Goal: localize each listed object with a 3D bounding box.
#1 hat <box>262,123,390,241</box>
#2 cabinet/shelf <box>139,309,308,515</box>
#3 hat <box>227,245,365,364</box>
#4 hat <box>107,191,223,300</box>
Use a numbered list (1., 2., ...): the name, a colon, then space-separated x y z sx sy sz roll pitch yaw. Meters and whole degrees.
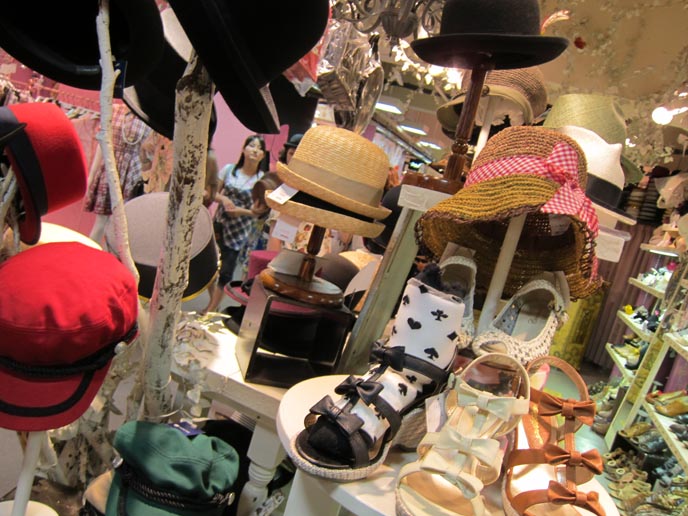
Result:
1. hat: -0.033 -0.235 1.443 0.284 0.217 0.387 19 16 -6
2. cabinet/shelf: -0.355 0.455 1.386 0.427 0.297 0.615 20 5 -35
3. hat: -0.085 0.136 1.678 0.366 0.139 0.414 21 7 6
4. hat: -0.651 -0.026 1.783 0.417 0.192 0.416 -5 49 -35
